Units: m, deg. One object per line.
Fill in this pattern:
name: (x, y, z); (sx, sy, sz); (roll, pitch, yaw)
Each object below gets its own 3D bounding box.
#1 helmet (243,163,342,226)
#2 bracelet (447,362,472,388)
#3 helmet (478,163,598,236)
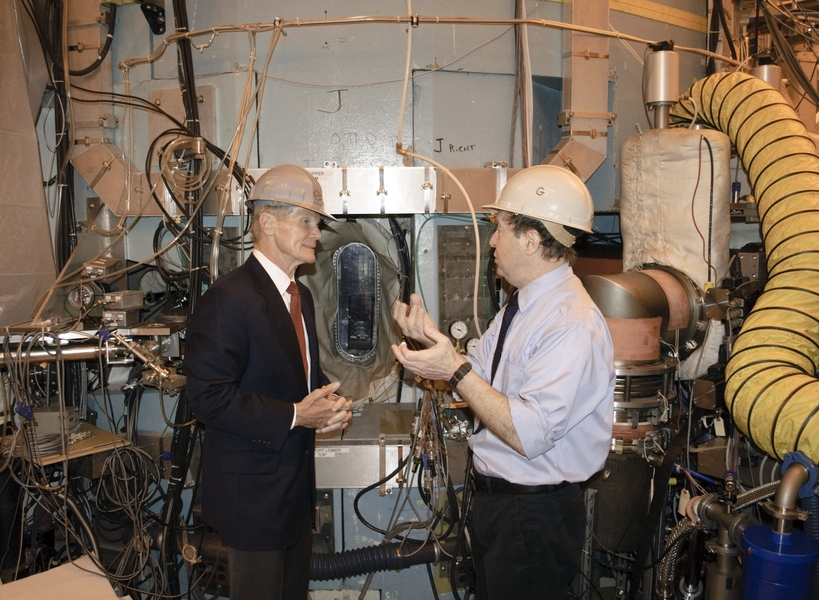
helmet: (-0.680, -0.593, 5.081); (0.347, 0.204, 0.278); (7, 6, 2)
bracelet: (0.261, 0.394, 4.641); (0.113, 0.150, 0.075); (0, 3, 13)
helmet: (0.723, -0.518, 4.767); (0.464, 0.284, 0.349); (26, 9, 2)
